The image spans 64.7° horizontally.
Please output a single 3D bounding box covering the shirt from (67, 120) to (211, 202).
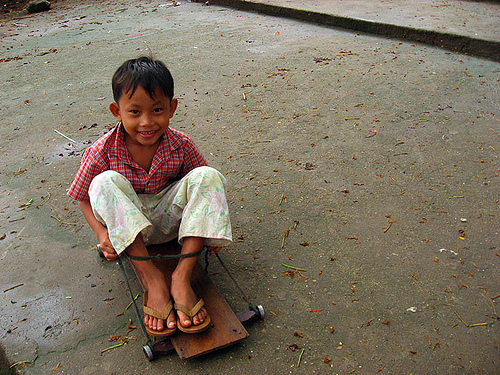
[{"bbox_3d":[-0.725,-0.178,2.467,0.866,0.476,0.216,-14,35,-11],"label":"shirt"}]

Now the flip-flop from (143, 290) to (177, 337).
[{"bbox_3d":[-0.521,0.727,2.268,0.183,0.207,0.271,-14,33,-11],"label":"flip-flop"}]

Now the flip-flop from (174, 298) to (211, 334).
[{"bbox_3d":[-0.342,0.715,2.330,0.204,0.101,0.453,-11,9,-11],"label":"flip-flop"}]

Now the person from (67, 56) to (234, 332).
[{"bbox_3d":[-0.533,0.031,2.314,0.844,1.342,1.062,-23,36,-21],"label":"person"}]
